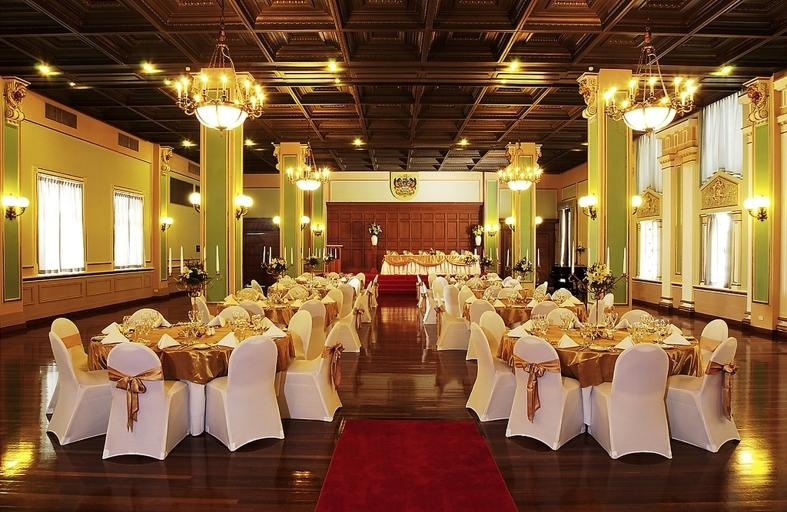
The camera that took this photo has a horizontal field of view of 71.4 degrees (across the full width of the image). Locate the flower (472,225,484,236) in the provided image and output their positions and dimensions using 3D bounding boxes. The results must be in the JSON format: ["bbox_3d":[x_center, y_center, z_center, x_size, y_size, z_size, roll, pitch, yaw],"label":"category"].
[{"bbox_3d":[3.840,-1.179,25.016,0.440,0.473,0.437,-7,8,-35],"label":"flower"}]

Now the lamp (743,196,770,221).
[{"bbox_3d":[8.367,-1.104,12.558,0.361,0.663,0.565,5,-7,-20],"label":"lamp"}]

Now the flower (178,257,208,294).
[{"bbox_3d":[-3.222,0.375,8.833,0.505,0.612,0.501,9,-4,5],"label":"flower"}]

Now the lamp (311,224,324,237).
[{"bbox_3d":[-3.137,-1.091,22.726,0.527,0.645,0.421,2,-6,-32],"label":"lamp"}]

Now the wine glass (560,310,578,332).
[{"bbox_3d":[2.731,1.002,8.656,0.286,0.449,0.266,-1,-10,-3],"label":"wine glass"}]

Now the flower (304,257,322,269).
[{"bbox_3d":[-2.769,0.199,18.561,0.390,0.469,0.451,-1,-3,31],"label":"flower"}]

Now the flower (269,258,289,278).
[{"bbox_3d":[-2.863,0.299,13.734,0.448,0.492,0.468,-5,-6,25],"label":"flower"}]

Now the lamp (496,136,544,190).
[{"bbox_3d":[4.169,-2.760,17.634,1.120,1.395,1.284,5,-5,4],"label":"lamp"}]

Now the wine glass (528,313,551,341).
[{"bbox_3d":[2.179,1.067,8.285,0.278,0.342,0.292,1,-6,-3],"label":"wine glass"}]

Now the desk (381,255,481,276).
[{"bbox_3d":[1.455,0.294,21.796,3.825,0.773,0.834,-1,0,2],"label":"desk"}]

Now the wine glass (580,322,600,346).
[{"bbox_3d":[2.865,1.140,8.040,0.259,0.362,0.310,0,-1,-6],"label":"wine glass"}]

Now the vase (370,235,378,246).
[{"bbox_3d":[-0.880,-0.740,25.299,0.289,0.407,0.547,-1,0,-4],"label":"vase"}]

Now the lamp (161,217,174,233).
[{"bbox_3d":[-7.807,-1.142,19.022,0.463,0.744,0.313,-1,0,16],"label":"lamp"}]

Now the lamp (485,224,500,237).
[{"bbox_3d":[4.201,-1.092,23.298,0.491,0.506,0.510,-1,-1,29],"label":"lamp"}]

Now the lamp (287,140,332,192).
[{"bbox_3d":[-2.487,-2.640,15.821,1.127,1.571,1.211,2,6,15],"label":"lamp"}]

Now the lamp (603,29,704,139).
[{"bbox_3d":[4.377,-3.039,9.333,1.326,1.909,1.289,0,0,-41],"label":"lamp"}]

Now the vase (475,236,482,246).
[{"bbox_3d":[3.912,-0.685,25.094,0.249,0.397,0.469,-1,0,21],"label":"vase"}]
